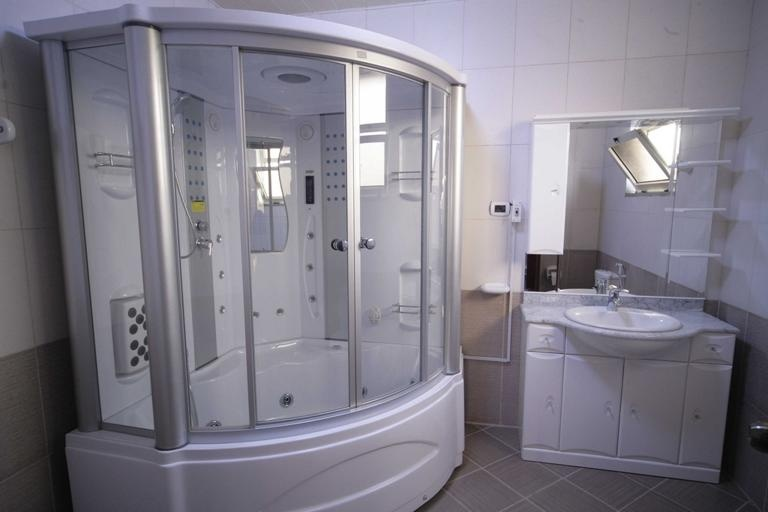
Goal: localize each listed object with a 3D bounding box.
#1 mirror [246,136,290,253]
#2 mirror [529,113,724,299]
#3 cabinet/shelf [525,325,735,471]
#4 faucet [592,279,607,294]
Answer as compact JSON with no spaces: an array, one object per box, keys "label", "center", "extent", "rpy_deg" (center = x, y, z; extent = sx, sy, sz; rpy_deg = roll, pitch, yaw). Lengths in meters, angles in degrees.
[{"label":"mirror","center":[-0.835,-0.414,3.813],"extent":[0.141,0.828,0.403],"rpy_deg":[1,8,19]},{"label":"mirror","center":[1.770,-0.403,3.860],"extent":[1.297,1.286,0.429],"rpy_deg":[2,2,1]},{"label":"cabinet/shelf","center":[1.718,0.943,3.668],"extent":[1.001,0.776,0.420],"rpy_deg":[1,2,10]},{"label":"faucet","center":[1.573,0.226,3.960],"extent":[0.080,0.143,0.050],"rpy_deg":[9,22,27]}]
